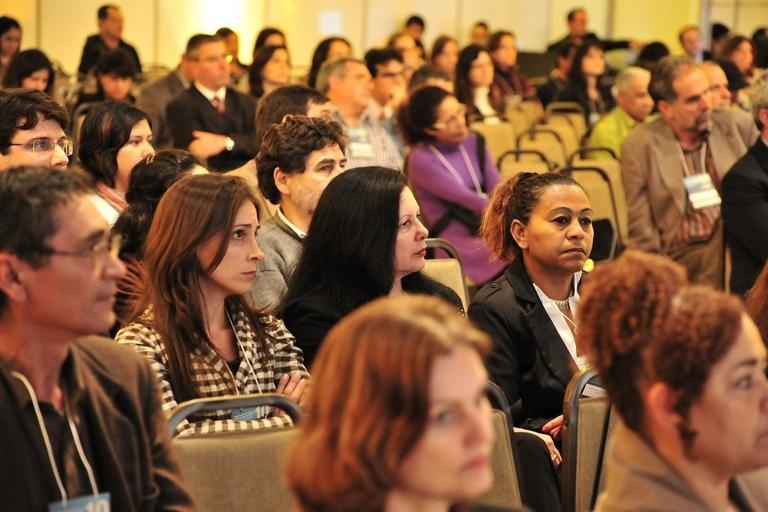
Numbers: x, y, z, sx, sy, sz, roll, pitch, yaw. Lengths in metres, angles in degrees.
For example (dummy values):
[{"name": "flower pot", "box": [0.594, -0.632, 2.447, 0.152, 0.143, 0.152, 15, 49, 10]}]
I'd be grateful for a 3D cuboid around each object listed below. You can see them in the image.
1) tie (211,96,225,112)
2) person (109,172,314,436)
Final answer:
[{"name": "tie", "box": [-1.569, -1.436, 6.932, 0.105, 0.146, 0.056, -9, -17, -48]}, {"name": "person", "box": [-0.702, 0.206, 2.982, 0.586, 1.009, 0.873, 4, 2, 29]}]
